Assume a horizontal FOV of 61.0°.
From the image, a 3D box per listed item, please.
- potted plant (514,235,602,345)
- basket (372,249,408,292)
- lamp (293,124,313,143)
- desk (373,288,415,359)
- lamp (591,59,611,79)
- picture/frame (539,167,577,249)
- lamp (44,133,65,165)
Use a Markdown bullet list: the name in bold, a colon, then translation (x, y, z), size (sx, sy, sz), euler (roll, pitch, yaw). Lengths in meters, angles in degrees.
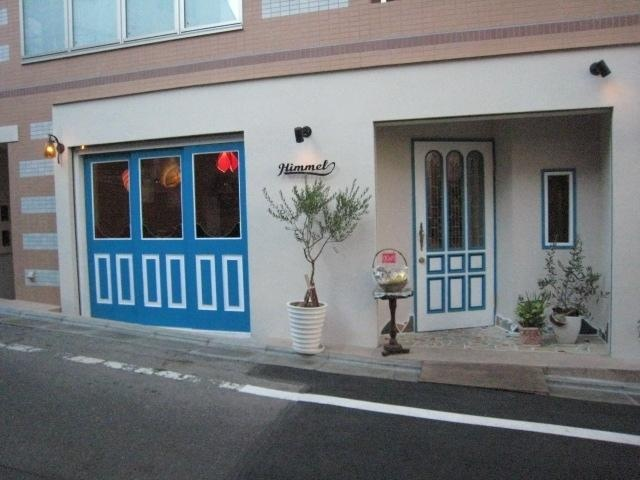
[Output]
- **potted plant**: translation (3.858, 0.816, 9.250), size (1.338, 2.226, 1.393), euler (-2, 1, 11)
- **basket**: translation (1.055, 0.443, 8.270), size (0.550, 0.797, 0.611), euler (0, -6, 4)
- **lamp**: translation (-0.263, -1.628, 8.339), size (0.202, 0.240, 0.253), euler (2, 7, 31)
- **desk**: translation (1.094, 1.228, 8.088), size (0.604, 0.972, 0.643), euler (-7, -11, 34)
- **lamp**: translation (3.866, -2.369, 7.465), size (0.274, 0.226, 0.235), euler (5, 11, 22)
- **picture/frame**: translation (3.926, -0.508, 8.916), size (0.543, 1.508, 0.087), euler (-1, -27, 26)
- **lamp**: translation (-4.828, -1.652, 9.755), size (0.363, 0.501, 0.309), euler (7, 12, 33)
